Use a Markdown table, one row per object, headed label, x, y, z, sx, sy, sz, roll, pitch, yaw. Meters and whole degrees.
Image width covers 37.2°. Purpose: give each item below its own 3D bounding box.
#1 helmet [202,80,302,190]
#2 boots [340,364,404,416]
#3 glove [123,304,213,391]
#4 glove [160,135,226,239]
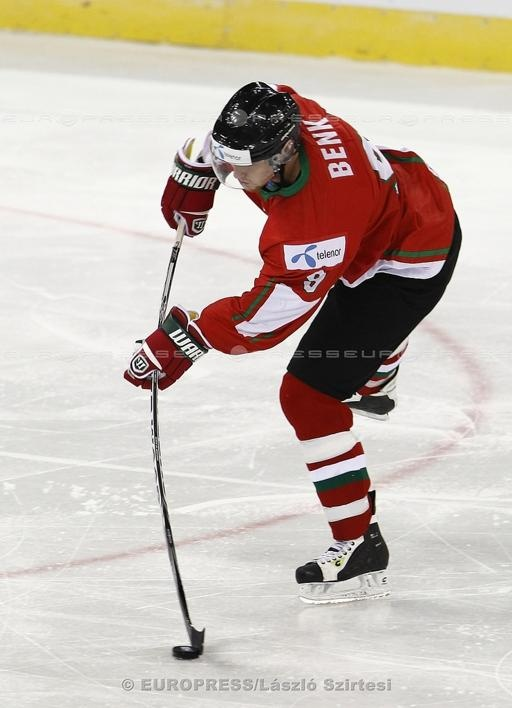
| label | x | y | z | sx | sy | sz | roll | pitch | yaw |
| --- | --- | --- | --- | --- | --- | --- | --- | --- | --- |
| helmet | 0.011 | -0.398 | 1.446 | 0.176 | 0.156 | 0.142 | -41 | 52 | -15 |
| boots | 0.345 | 0.120 | 2.190 | 0.175 | 0.133 | 0.112 | -5 | 11 | 40 |
| glove | -0.167 | -0.011 | 1.510 | 0.112 | 0.209 | 0.086 | 57 | 24 | 17 |
| glove | -0.159 | -0.435 | 2.053 | 0.159 | 0.259 | 0.126 | 4 | 44 | -11 |
